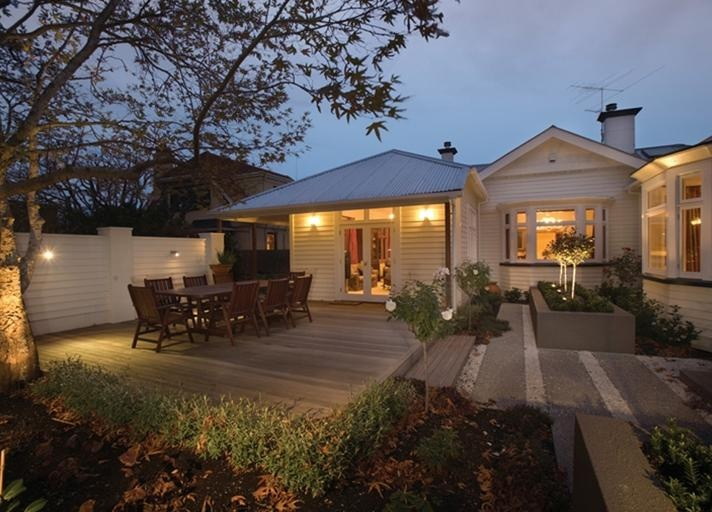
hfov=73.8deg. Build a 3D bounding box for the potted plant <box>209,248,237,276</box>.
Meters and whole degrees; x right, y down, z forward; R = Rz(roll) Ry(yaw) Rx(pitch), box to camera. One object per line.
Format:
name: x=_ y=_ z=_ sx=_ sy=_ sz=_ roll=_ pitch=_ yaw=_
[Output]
potted plant: x=-3.794 y=0.138 z=13.520 sx=0.590 sy=0.782 sz=0.651 roll=-1 pitch=-3 yaw=-4
